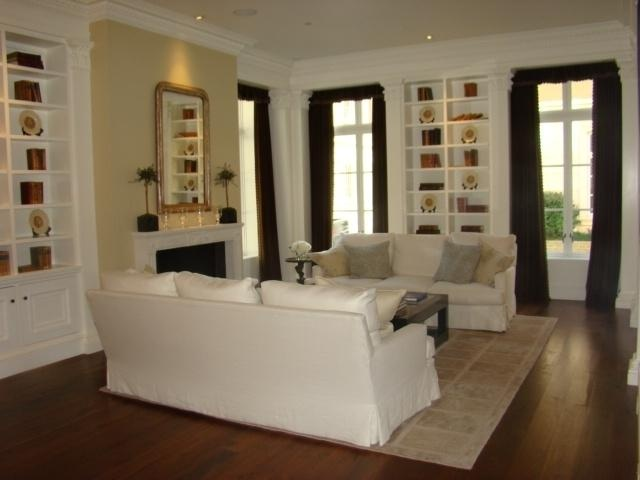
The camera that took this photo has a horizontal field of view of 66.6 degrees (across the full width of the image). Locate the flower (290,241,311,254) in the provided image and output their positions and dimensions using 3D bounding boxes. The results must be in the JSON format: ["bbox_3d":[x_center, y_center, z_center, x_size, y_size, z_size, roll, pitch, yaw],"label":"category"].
[{"bbox_3d":[-0.274,0.125,7.175,0.243,0.191,0.203,2,-5,-36],"label":"flower"}]

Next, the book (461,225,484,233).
[{"bbox_3d":[2.421,-0.171,7.670,0.301,0.164,0.205,-2,0,24],"label":"book"}]

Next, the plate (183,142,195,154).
[{"bbox_3d":[-1.699,-1.179,6.312,0.102,0.161,0.142,2,-6,3],"label":"plate"}]

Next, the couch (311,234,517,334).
[{"bbox_3d":[1.246,0.520,6.669,2.600,1.105,1.085,2,5,28],"label":"couch"}]

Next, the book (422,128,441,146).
[{"bbox_3d":[1.844,-1.602,8.022,0.272,0.378,0.380,1,3,18],"label":"book"}]

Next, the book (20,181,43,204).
[{"bbox_3d":[-3.108,-0.511,5.279,0.241,0.350,0.240,-3,8,-39],"label":"book"}]

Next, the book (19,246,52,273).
[{"bbox_3d":[-3.041,0.202,5.233,0.268,0.266,0.271,0,2,3],"label":"book"}]

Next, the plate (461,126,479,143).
[{"bbox_3d":[2.368,-1.646,7.696,0.241,0.253,0.154,1,8,16],"label":"plate"}]

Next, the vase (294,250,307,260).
[{"bbox_3d":[-0.268,0.233,7.174,0.111,0.084,0.112,-3,6,-29],"label":"vase"}]

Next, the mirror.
[{"bbox_3d":[-1.773,-1.160,6.234,0.232,1.589,0.919,2,8,24],"label":"mirror"}]

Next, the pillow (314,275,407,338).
[{"bbox_3d":[0.269,0.532,3.775,0.619,0.191,0.567,12,17,24],"label":"pillow"}]

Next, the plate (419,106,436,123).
[{"bbox_3d":[1.736,-1.999,7.845,0.257,0.263,0.059,20,13,32],"label":"plate"}]

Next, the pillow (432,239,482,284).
[{"bbox_3d":[1.776,0.293,6.166,0.521,0.505,0.159,9,-15,46],"label":"pillow"}]

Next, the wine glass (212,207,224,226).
[{"bbox_3d":[-1.418,-0.334,6.773,0.180,0.210,0.182,3,11,10],"label":"wine glass"}]

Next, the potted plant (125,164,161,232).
[{"bbox_3d":[-2.041,-0.492,5.760,0.351,0.784,0.288,-9,10,-44],"label":"potted plant"}]

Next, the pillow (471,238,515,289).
[{"bbox_3d":[2.222,0.252,6.189,0.467,0.552,0.641,2,8,23],"label":"pillow"}]

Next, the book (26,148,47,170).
[{"bbox_3d":[-3.110,-0.875,5.303,0.182,0.224,0.189,-6,8,-31],"label":"book"}]

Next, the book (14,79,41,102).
[{"bbox_3d":[-3.147,-1.582,5.194,0.245,0.246,0.202,-6,9,-31],"label":"book"}]

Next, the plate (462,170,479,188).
[{"bbox_3d":[2.407,-0.953,7.788,0.274,0.282,0.168,1,8,20],"label":"plate"}]

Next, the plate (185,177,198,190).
[{"bbox_3d":[-1.697,-0.720,6.354,0.120,0.147,0.163,0,-2,-1],"label":"plate"}]

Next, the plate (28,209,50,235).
[{"bbox_3d":[-3.079,-0.181,5.304,0.075,0.252,0.249,-16,-2,35],"label":"plate"}]

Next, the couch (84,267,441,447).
[{"bbox_3d":[-0.539,0.820,3.879,2.487,1.130,0.698,1,8,22],"label":"couch"}]

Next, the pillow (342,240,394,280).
[{"bbox_3d":[0.666,0.297,6.651,0.510,0.184,0.407,-2,51,3],"label":"pillow"}]

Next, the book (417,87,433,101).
[{"bbox_3d":[1.722,-2.340,7.945,0.207,0.276,0.291,0,5,26],"label":"book"}]

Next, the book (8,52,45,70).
[{"bbox_3d":[-3.094,-1.867,5.074,0.318,0.196,0.225,-6,8,-32],"label":"book"}]

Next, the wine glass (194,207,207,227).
[{"bbox_3d":[-1.617,-0.296,6.536,0.177,0.277,0.163,1,2,-7],"label":"wine glass"}]

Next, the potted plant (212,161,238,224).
[{"bbox_3d":[-1.297,-0.638,6.827,0.239,0.816,0.381,2,8,23],"label":"potted plant"}]

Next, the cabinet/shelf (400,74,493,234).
[{"bbox_3d":[2.050,-1.323,7.845,1.347,2.452,0.502,1,8,19],"label":"cabinet/shelf"}]
